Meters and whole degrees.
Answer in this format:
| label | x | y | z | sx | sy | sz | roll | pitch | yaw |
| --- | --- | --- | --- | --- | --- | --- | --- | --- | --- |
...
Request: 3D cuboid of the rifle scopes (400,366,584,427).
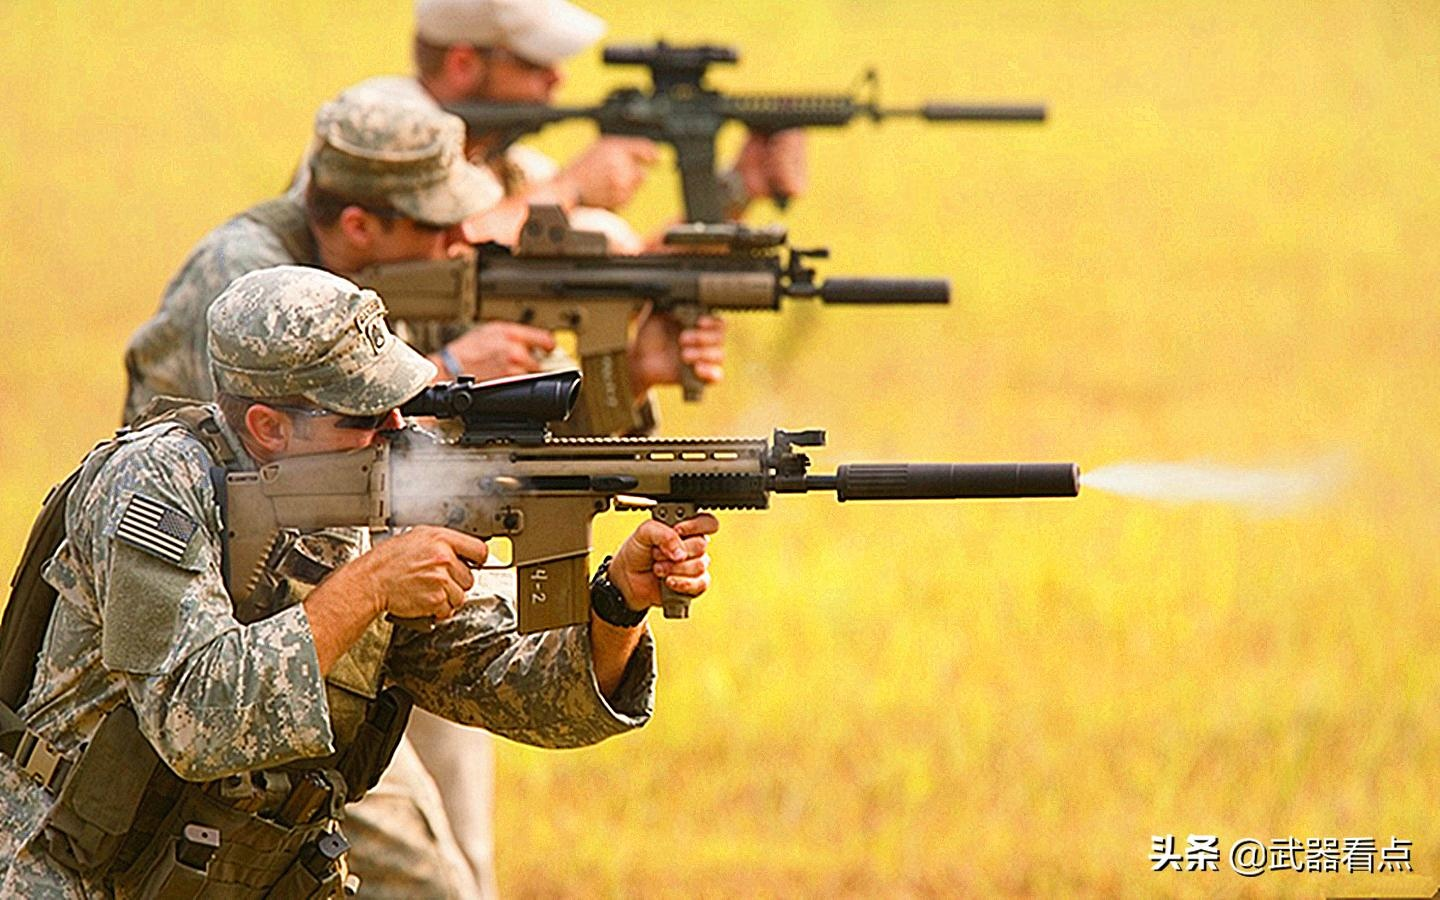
| label | x | y | z | sx | sy | sz | roll | pitch | yaw |
| --- | --- | --- | --- | --- | --- | --- | --- | --- | --- |
| rifle scopes | -0.894 | -0.200 | 9.120 | 0.654 | 0.171 | 0.203 | 4 | 44 | 3 |
